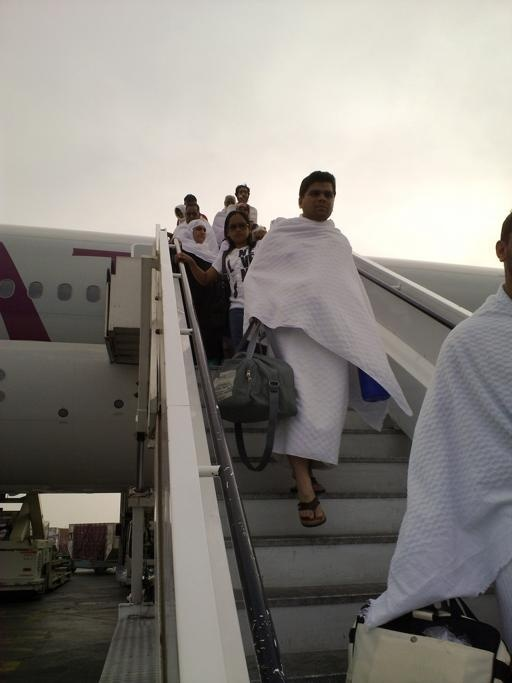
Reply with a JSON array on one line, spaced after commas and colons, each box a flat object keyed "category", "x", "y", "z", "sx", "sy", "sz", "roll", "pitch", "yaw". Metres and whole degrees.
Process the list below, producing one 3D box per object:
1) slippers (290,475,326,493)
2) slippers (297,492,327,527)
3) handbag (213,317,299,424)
[{"category": "slippers", "x": 0.275, "y": 0.731, "z": 2.610, "sx": 0.072, "sy": 0.081, "sz": 0.209, "roll": 0, "pitch": -17, "yaw": -5}, {"category": "slippers", "x": 0.247, "y": 0.762, "z": 2.312, "sx": 0.114, "sy": 0.080, "sz": 0.306, "roll": -7, "pitch": -19, "yaw": -4}, {"category": "handbag", "x": -0.017, "y": 0.117, "z": 2.455, "sx": 0.258, "sy": 0.498, "sz": 0.375, "roll": 7, "pitch": 0, "yaw": -35}]
